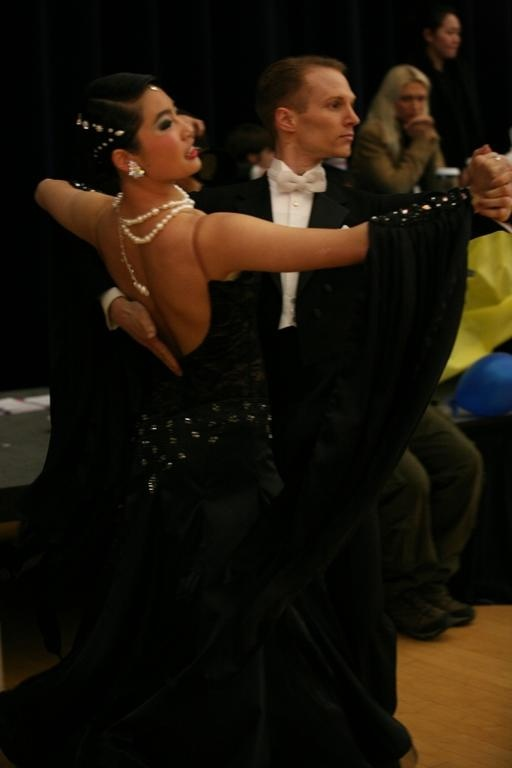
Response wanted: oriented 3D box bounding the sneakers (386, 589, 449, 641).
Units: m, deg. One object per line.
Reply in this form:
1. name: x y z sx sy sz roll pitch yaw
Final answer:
1. sneakers: 0.434 0.621 1.938 0.105 0.074 0.190 -11 6 -23

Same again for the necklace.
1. necklace: -0.153 -0.218 1.089 0.137 0.171 0.046 -7 -4 18
